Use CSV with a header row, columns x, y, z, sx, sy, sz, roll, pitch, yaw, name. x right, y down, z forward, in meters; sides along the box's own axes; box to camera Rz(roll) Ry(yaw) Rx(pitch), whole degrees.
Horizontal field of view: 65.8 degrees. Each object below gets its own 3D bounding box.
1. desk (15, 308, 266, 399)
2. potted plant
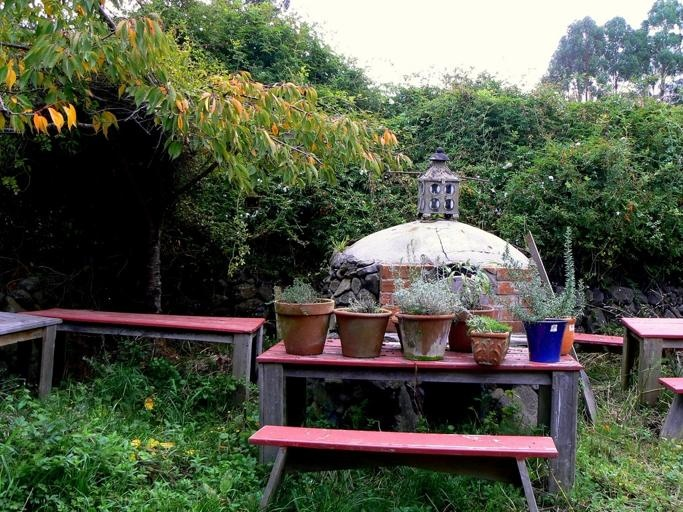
x,y,z,sx,sy,sz,roll,pitch,yaw,name
-1.862,0.887,5.381,2.073,0.619,1.087,3,9,-3,desk
0.963,0.189,4.870,1.801,0.676,1.406,2,4,7,potted plant
